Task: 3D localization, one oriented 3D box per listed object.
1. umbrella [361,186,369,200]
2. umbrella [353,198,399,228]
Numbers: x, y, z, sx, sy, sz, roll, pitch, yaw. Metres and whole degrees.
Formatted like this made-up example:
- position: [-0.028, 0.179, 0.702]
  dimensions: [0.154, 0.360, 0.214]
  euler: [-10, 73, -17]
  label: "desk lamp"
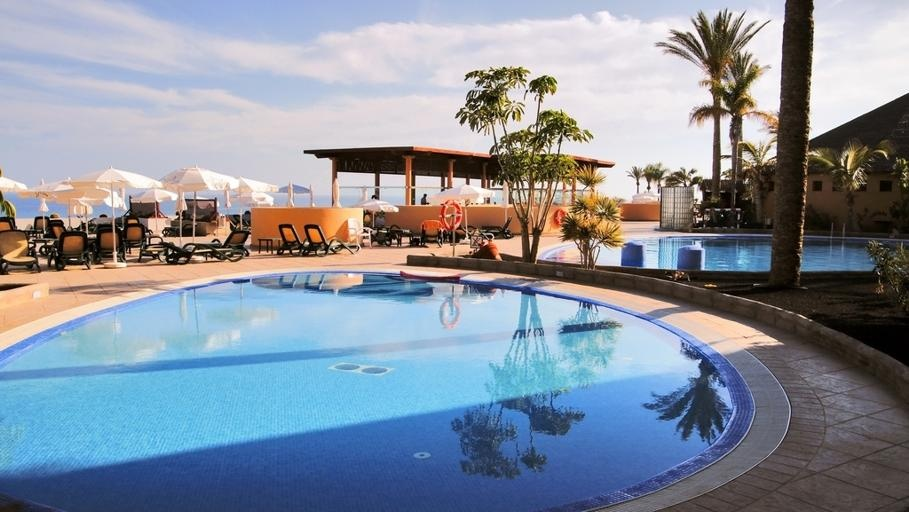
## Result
- position: [-4.266, -3.043, 27.696]
  dimensions: [0.348, 0.607, 1.234]
  euler: [-2, 5, -8]
  label: "umbrella"
- position: [-3.515, -1.741, 26.003]
  dimensions: [1.775, 1.116, 1.650]
  euler: [-4, 19, -20]
  label: "umbrella"
